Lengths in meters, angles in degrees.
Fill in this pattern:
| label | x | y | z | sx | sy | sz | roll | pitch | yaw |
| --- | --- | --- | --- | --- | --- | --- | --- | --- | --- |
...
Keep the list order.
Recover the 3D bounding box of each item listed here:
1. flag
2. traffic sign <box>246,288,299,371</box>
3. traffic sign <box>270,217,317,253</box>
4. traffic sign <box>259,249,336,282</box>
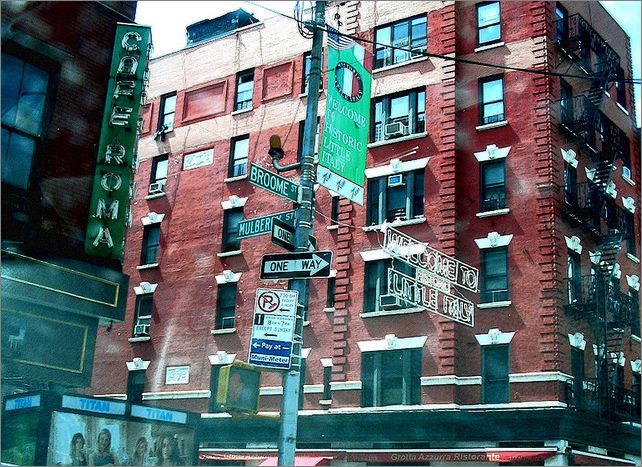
| label | x | y | z | sx | sy | sz | roll | pitch | yaw |
| --- | --- | --- | --- | --- | --- | --- | --- | --- | --- |
| flag | 0.688 | -3.547 | 23.400 | 1.008 | 5.421 | 1.910 | -16 | -31 | 31 |
| traffic sign | -1.209 | 2.408 | 20.046 | 1.150 | 1.969 | 0.823 | 3 | -26 | -4 |
| traffic sign | -0.757 | 0.036 | 21.104 | 0.061 | 0.663 | 1.403 | -20 | -33 | 37 |
| traffic sign | -0.677 | 0.878 | 21.793 | 1.993 | 0.869 | 0.069 | -4 | -20 | 23 |
